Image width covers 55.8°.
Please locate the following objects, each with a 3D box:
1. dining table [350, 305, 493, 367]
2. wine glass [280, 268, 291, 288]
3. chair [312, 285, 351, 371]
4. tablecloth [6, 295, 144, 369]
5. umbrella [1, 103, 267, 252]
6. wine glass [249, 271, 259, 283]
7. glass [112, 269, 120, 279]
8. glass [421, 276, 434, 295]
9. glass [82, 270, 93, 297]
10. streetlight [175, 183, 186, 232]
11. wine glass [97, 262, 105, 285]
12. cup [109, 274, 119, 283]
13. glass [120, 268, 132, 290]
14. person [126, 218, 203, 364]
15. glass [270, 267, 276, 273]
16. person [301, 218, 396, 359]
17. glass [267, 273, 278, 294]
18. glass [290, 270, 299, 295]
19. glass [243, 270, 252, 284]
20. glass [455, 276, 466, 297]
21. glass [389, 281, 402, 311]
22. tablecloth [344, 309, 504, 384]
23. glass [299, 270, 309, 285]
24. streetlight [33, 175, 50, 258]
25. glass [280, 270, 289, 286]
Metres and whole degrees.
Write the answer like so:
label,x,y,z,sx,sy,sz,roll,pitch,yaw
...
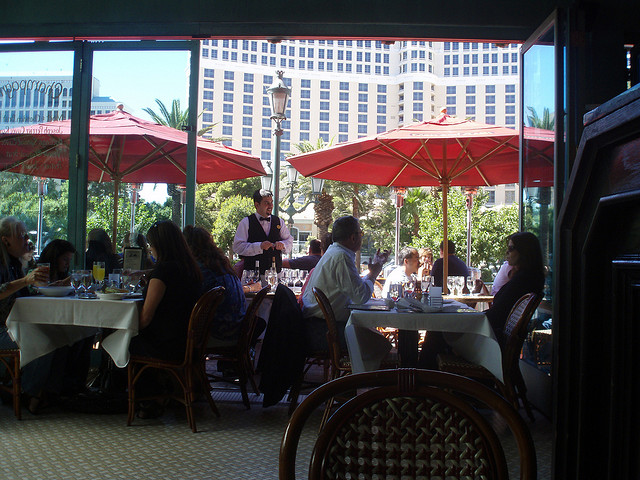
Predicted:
label,x,y,z,sx,sy,sz,roll,pitch,yaw
dining table,0.655,0.689,4.103,0.891,0.488,0.572,1,3,3
wine glass,-0.314,0.352,5.813,0.118,0.236,0.128,-1,-2,-1
chair,0.075,0.582,4.112,0.244,0.566,0.498,0,3,-1
tablecloth,-1.661,0.547,4.228,0.595,0.362,0.634,1,3,7
umbrella,-1.586,-0.645,6.572,1.717,1.434,2.982,2,4,29
wine glass,-0.603,0.343,5.660,0.081,0.107,0.088,1,0,9
glass,-1.553,0.253,4.642,0.043,0.047,0.033,1,16,2
glass,0.818,0.349,4.624,0.095,0.178,0.100,-3,5,-37
glass,-1.623,0.300,4.254,0.066,0.176,0.198,-1,4,-21
streetlight,-1.314,-0.339,5.735,0.062,0.414,0.408,-1,4,-18
wine glass,-1.606,0.235,4.459,0.046,0.131,0.085,-1,4,-22
cup,-1.515,0.286,4.494,0.069,0.065,0.050,-2,4,-31
glass,-1.483,0.299,4.643,0.077,0.133,0.141,-1,4,-19
person,-1.045,0.346,4.128,0.490,0.949,0.414,0,3,-12
glass,-0.437,0.283,5.696,0.038,0.080,0.041,1,9,6
person,0.197,0.470,4.592,0.663,1.279,0.570,2,8,-6
glass,-0.423,0.382,5.446,0.081,0.153,0.156,0,3,-7
glass,-0.242,0.363,5.794,0.080,0.137,0.211,0,3,1
glass,-0.683,0.351,5.716,0.093,0.124,0.101,-2,-2,0
glass,1.355,0.451,5.912,0.085,0.174,0.219,1,3,13
glass,0.513,0.376,4.123,0.085,0.168,0.286,1,3,7
tablecloth,0.664,0.678,4.004,1.004,0.446,0.421,0,3,-1
glass,-0.145,0.363,6.060,0.084,0.180,0.090,-1,0,-9
streetlight,-2.562,-0.223,5.580,0.169,0.753,0.073,2,4,24
glass,-0.334,0.346,5.769,0.091,0.175,0.103,1,-1,-14
